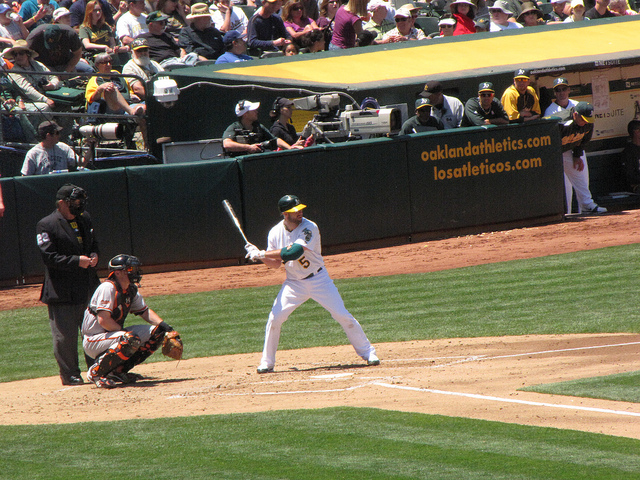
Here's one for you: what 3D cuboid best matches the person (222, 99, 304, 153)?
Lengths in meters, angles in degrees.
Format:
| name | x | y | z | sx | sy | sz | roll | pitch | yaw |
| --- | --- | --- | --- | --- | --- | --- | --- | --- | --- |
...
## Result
| name | x | y | z | sx | sy | sz | roll | pitch | yaw |
| --- | --- | --- | --- | --- | --- | --- | --- | --- | --- |
| person | -0.984 | -2.110 | 29.977 | 1.702 | 0.978 | 0.765 | 3 | 14 | 9 |

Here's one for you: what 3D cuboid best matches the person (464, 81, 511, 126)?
| name | x | y | z | sx | sy | sz | roll | pitch | yaw |
| --- | --- | --- | --- | --- | --- | --- | --- | --- | --- |
| person | 3.511 | -2.700 | 31.103 | 0.840 | 0.926 | 0.962 | -2 | 10 | -2 |

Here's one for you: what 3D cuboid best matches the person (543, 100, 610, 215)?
| name | x | y | z | sx | sy | sz | roll | pitch | yaw |
| --- | --- | --- | --- | --- | --- | --- | --- | --- | --- |
| person | 5.228 | -1.610 | 31.511 | 0.803 | 2.293 | 1.067 | -7 | 4 | 8 |
